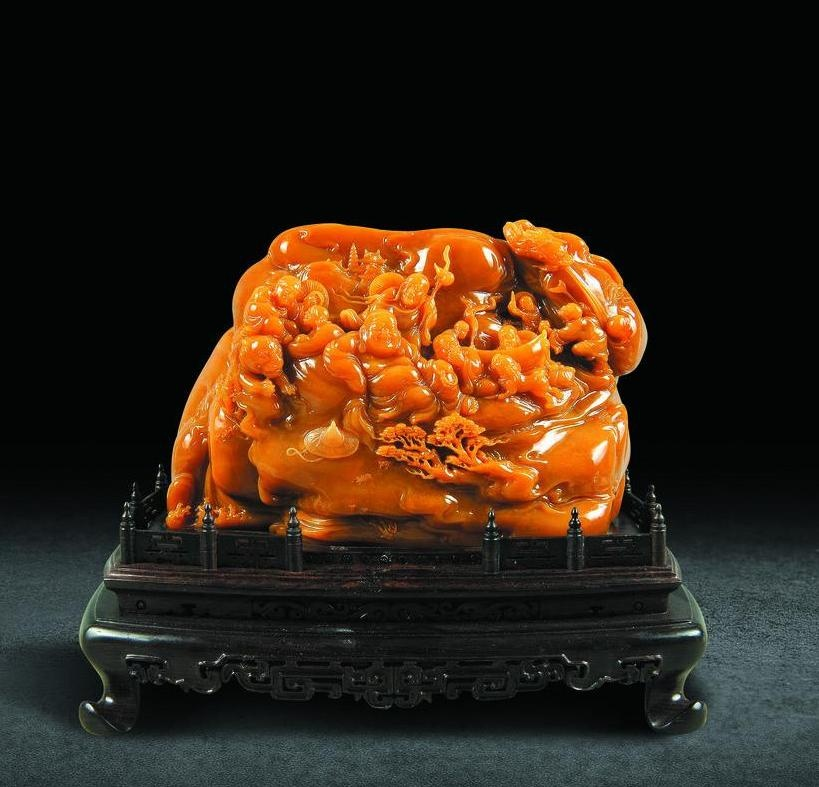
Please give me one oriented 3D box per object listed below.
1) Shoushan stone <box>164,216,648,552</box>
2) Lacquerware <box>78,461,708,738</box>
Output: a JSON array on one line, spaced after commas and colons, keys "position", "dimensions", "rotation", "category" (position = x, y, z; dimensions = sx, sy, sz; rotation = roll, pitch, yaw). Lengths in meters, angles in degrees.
[{"position": [0.009, 0.064, 7.318], "dimensions": [2.831, 1.749, 1.436], "rotation": [0, -6, -1], "category": "Shoushan stone"}, {"position": [0.016, 1.045, 6.861], "dimensions": [3.548, 1.302, 1.505], "rotation": [-3, 19, -1], "category": "Lacquerware"}]
